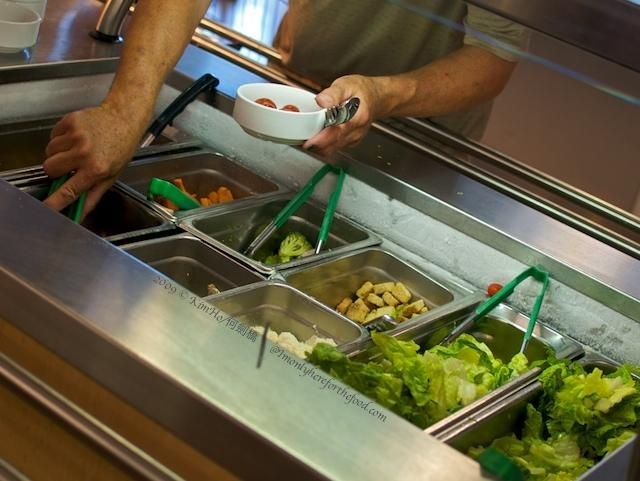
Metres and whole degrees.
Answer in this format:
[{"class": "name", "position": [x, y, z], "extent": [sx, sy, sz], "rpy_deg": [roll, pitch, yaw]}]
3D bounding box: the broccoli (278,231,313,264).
[{"class": "broccoli", "position": [-0.061, 0.017, 1.150], "extent": [0.070, 0.030, 0.069], "rpy_deg": [10, 38, 8]}]

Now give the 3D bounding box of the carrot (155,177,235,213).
[{"class": "carrot", "position": [-0.327, -0.132, 1.206], "extent": [0.104, 0.057, 0.161], "rpy_deg": [35, 22, 33]}]

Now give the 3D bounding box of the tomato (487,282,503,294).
[{"class": "tomato", "position": [0.398, 0.110, 1.077], "extent": [0.026, 0.027, 0.015], "rpy_deg": [31, -14, 49]}]
